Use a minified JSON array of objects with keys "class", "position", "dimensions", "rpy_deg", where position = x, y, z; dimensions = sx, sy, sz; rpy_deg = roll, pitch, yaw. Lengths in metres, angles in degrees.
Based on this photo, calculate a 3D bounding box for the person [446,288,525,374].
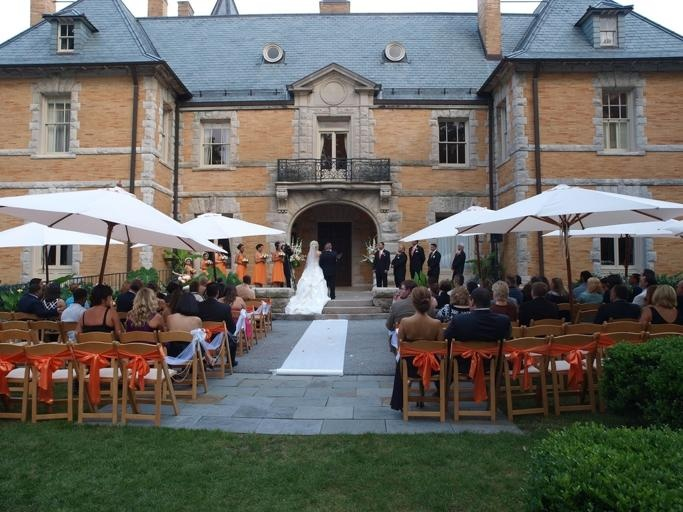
[{"class":"person","position":[2.378,1.099,13.599],"dimensions":[1.407,1.029,0.698],"rpy_deg":[-2,13,-13]}]

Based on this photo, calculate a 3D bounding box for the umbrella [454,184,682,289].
[{"class":"umbrella","position":[4.371,-0.569,15.374],"dimensions":[2.748,1.783,3.547],"rpy_deg":[-6,15,-25]}]

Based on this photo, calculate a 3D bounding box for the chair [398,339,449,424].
[{"class":"chair","position":[1.425,2.129,13.672],"dimensions":[1.163,1.254,1.104],"rpy_deg":[3,-4,-37]}]

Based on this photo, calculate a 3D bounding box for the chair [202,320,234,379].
[{"class":"chair","position":[-2.272,1.742,15.412],"dimensions":[0.666,0.806,0.553],"rpy_deg":[17,-4,-18]}]

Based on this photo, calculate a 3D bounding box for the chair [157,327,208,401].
[{"class":"chair","position":[-2.924,1.936,14.434],"dimensions":[0.900,1.138,0.955],"rpy_deg":[-1,-2,21]}]

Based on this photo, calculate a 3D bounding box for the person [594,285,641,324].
[{"class":"person","position":[5.074,0.913,14.422],"dimensions":[1.001,0.790,0.544],"rpy_deg":[-3,10,-17]}]

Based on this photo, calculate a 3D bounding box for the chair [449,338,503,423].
[{"class":"chair","position":[2.301,2.055,13.667],"dimensions":[0.839,1.408,1.355],"rpy_deg":[3,15,11]}]

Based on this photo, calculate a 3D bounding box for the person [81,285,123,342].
[{"class":"person","position":[-4.246,1.004,14.037],"dimensions":[0.988,0.968,0.576],"rpy_deg":[2,9,14]}]

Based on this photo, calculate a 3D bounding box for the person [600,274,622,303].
[{"class":"person","position":[5.443,0.664,15.962],"dimensions":[0.409,0.682,0.498],"rpy_deg":[16,1,19]}]

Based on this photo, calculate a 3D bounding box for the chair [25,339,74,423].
[{"class":"chair","position":[-4.919,2.045,13.473],"dimensions":[0.750,1.369,1.440],"rpy_deg":[-5,15,-19]}]

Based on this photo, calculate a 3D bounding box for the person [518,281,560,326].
[{"class":"person","position":[3.803,0.936,15.136],"dimensions":[0.781,1.197,0.673],"rpy_deg":[2,8,11]}]

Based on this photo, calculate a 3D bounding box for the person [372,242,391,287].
[{"class":"person","position":[1.271,0.328,24.468],"dimensions":[0.540,1.383,0.984],"rpy_deg":[1,15,2]}]

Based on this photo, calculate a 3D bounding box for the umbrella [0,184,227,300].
[{"class":"umbrella","position":[-4.313,-0.684,14.966],"dimensions":[2.771,1.234,2.623],"rpy_deg":[5,-8,41]}]

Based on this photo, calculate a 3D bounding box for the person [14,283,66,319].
[{"class":"person","position":[-6.145,0.939,16.147],"dimensions":[0.459,0.914,0.570],"rpy_deg":[15,24,16]}]
